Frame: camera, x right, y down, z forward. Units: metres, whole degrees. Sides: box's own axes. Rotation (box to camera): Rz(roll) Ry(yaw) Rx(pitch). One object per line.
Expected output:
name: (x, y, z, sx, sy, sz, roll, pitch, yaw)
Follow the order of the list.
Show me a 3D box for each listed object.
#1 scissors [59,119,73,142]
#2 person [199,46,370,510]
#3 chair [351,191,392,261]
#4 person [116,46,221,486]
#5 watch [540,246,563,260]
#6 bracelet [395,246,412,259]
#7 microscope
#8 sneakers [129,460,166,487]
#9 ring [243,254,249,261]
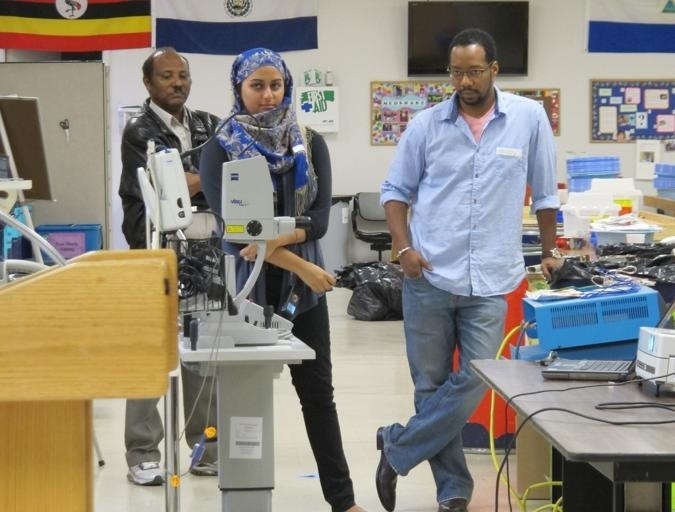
scissors: (-2.552, -1.173, 8.272, 0.110, 0.184, 0.064, -7, 11, -21)
person: (-0.228, -0.032, 3.157, 0.429, 1.756, 0.448, -4, 13, -28)
chair: (0.392, -0.235, 8.924, 0.523, 0.867, 0.516, -5, 2, 3)
person: (-0.767, 0.059, 3.711, 0.494, 1.866, 0.499, 10, -8, -36)
watch: (0.837, -0.001, 3.495, 0.076, 0.054, 0.087, 0, -3, 17)
bracelet: (0.249, -0.013, 3.418, 0.045, 0.018, 0.040, -44, -10, -1)
microscope: (-0.296, -0.013, 2.805, 0.379, 0.592, 0.238, 0, -2, -4)
sneakers: (-0.799, 0.907, 3.689, 0.080, 0.080, 0.176, 7, -11, -41)
ring: (-0.315, 0.006, 3.043, 0.018, 0.017, 0.033, -2, -20, -2)
